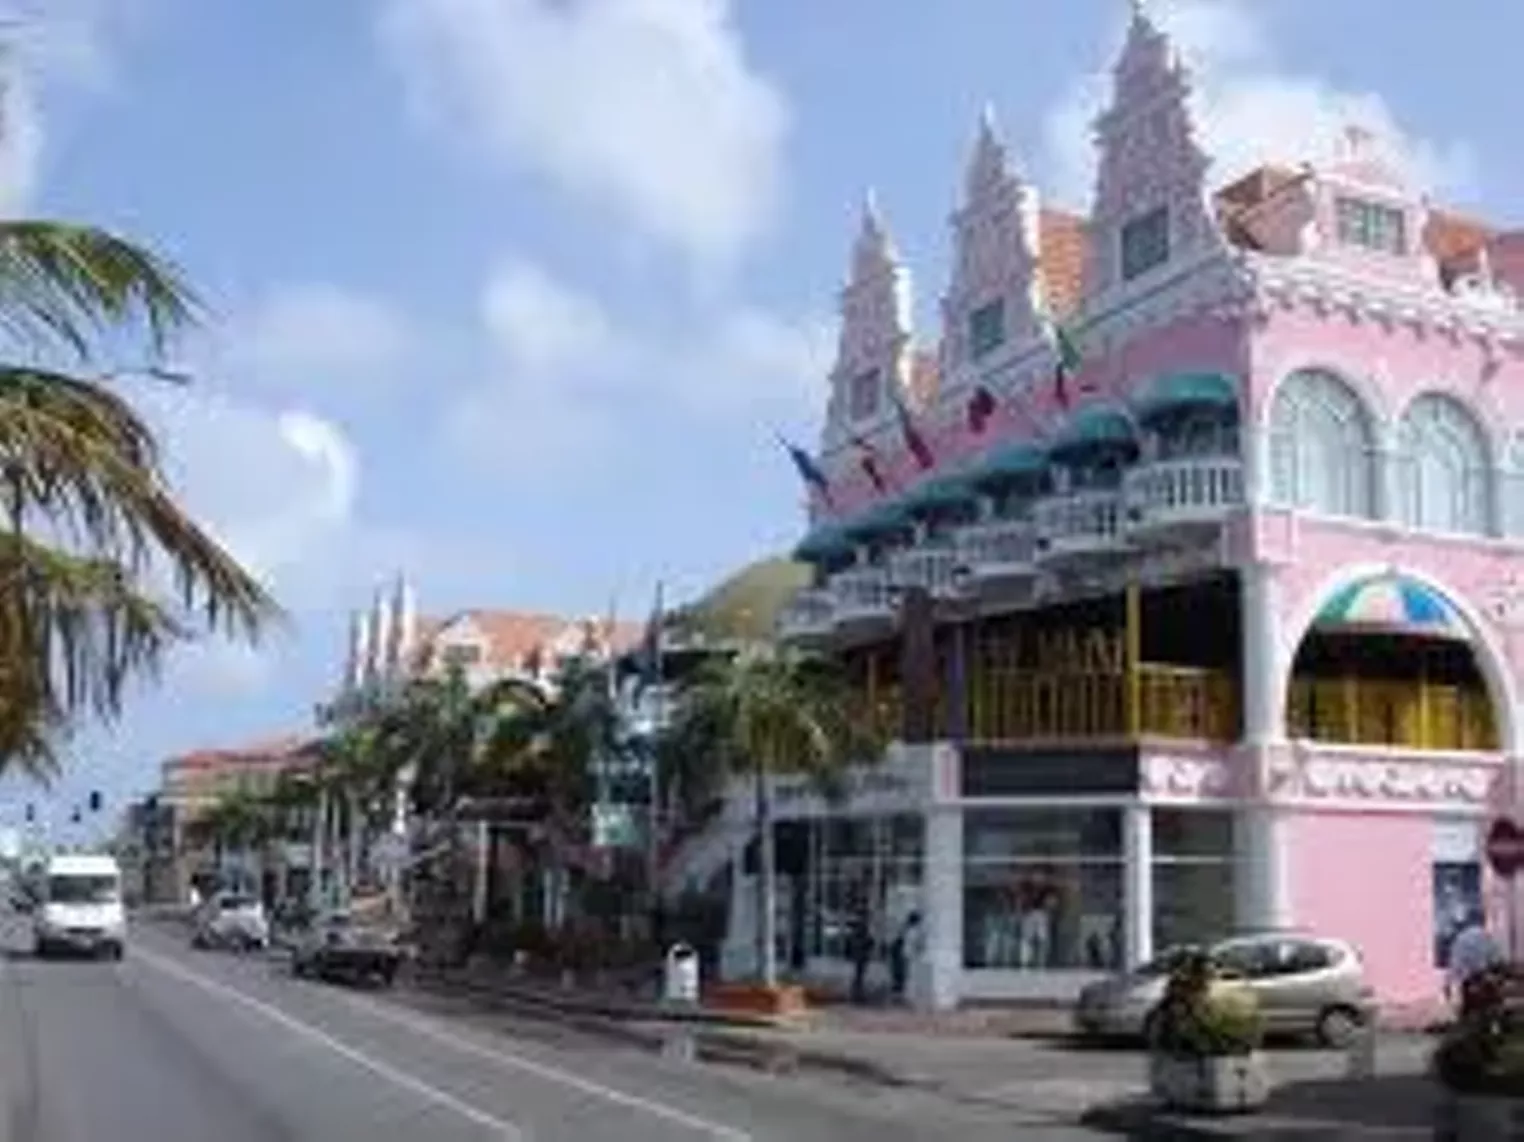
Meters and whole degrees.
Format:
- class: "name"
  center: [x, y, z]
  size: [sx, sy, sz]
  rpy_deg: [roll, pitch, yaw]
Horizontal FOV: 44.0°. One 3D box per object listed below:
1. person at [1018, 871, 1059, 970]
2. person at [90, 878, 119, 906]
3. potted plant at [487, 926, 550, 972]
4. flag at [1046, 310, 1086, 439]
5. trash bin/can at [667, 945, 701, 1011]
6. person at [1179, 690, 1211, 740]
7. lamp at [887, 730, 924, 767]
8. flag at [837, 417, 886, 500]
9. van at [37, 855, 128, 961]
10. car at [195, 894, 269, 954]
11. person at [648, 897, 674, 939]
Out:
- class: "person"
  center: [5.728, 7.298, 39.241]
  size: [0.696, 1.934, 0.314]
  rpy_deg: [-1, -13, 8]
- class: "person"
  center: [-17.521, 8.433, 49.662]
  size: [0.557, 0.610, 1.071]
  rpy_deg: [7, -17, -16]
- class: "potted plant"
  center: [-6.623, 10.159, 51.000]
  size: [1.288, 1.744, 0.892]
  rpy_deg: [0, -2, 39]
- class: "flag"
  center: [7.122, -5.058, 44.066]
  size: [0.644, 2.502, 2.699]
  rpy_deg: [-1, -14, 9]
- class: "trash bin/can"
  center: [-1.652, 8.438, 39.287]
  size: [0.629, 1.360, 1.933]
  rpy_deg: [2, -14, -4]
- class: "person"
  center: [9.090, 2.949, 39.533]
  size: [0.766, 1.057, 0.219]
  rpy_deg: [8, -15, -27]
- class: "lamp"
  center: [2.950, 3.924, 40.730]
  size: [0.558, 0.542, 0.809]
  rpy_deg: [5, -15, -18]
- class: "flag"
  center: [2.860, -3.214, 52.454]
  size: [0.999, 2.828, 3.009]
  rpy_deg: [2, -14, -4]
- class: "van"
  center: [-17.744, 8.737, 49.271]
  size: [2.303, 2.717, 1.932]
  rpy_deg: [-9, -16, 33]
- class: "car"
  center: [-17.088, 11.416, 61.023]
  size: [1.497, 1.399, 3.157]
  rpy_deg: [3, -7, -20]
- class: "person"
  center: [-2.418, 8.485, 45.440]
  size: [0.396, 0.843, 1.046]
  rpy_deg: [0, -14, 4]
